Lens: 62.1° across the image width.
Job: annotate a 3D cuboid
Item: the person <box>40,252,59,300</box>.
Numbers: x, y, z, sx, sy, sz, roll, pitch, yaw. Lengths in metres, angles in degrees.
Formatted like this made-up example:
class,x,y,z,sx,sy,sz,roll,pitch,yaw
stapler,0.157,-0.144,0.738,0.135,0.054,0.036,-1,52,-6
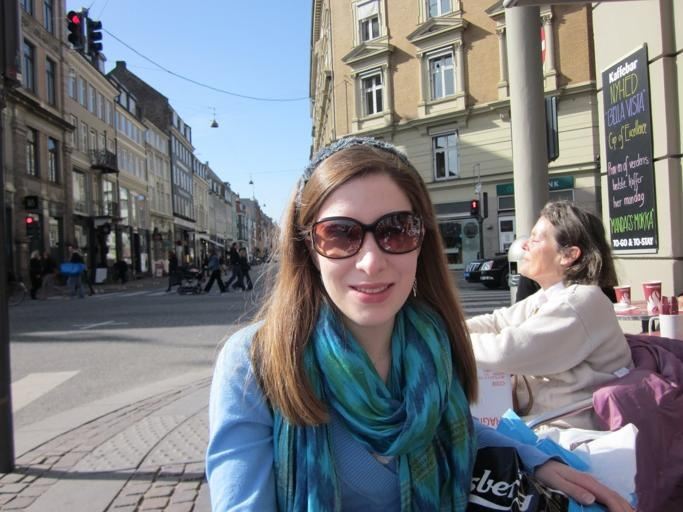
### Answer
class,x,y,z,sx,sy,sz,roll,pitch,yaw
person,-10.779,0.718,20.741,0.499,1.709,3.808,-1,-3,-28

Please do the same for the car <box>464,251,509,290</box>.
class,x,y,z,sx,sy,sz,roll,pitch,yaw
car,4.414,0.448,15.774,1.808,0.887,0.840,10,-13,-36

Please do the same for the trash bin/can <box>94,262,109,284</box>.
class,x,y,z,sx,sy,sz,roll,pitch,yaw
trash bin/can,-12.865,0.953,30.225,0.746,0.898,1.493,6,-10,-13

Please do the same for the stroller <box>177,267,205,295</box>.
class,x,y,z,sx,sy,sz,roll,pitch,yaw
stroller,-5.426,0.910,19.897,1.099,1.286,1.052,-1,2,-7

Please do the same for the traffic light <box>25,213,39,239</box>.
class,x,y,z,sx,sy,sz,roll,pitch,yaw
traffic light,-11.100,-1.022,20.317,0.359,0.822,0.815,-1,-2,-33
